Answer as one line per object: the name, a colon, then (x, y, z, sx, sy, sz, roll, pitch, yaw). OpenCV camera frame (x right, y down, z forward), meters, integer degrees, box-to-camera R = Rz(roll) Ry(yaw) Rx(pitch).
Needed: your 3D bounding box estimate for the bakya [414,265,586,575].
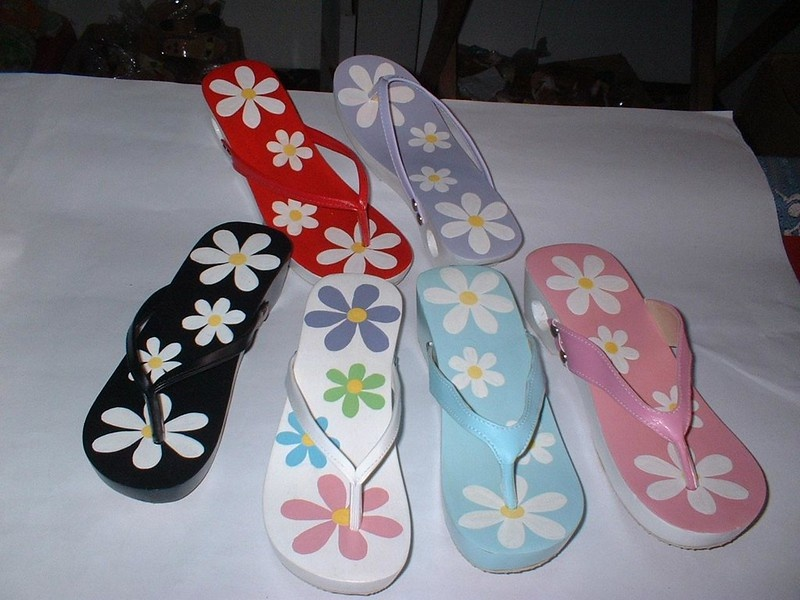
bakya: (0.185, 0.244, 1.289, 0.221, 0.158, 0.590, -7, 54, -4)
